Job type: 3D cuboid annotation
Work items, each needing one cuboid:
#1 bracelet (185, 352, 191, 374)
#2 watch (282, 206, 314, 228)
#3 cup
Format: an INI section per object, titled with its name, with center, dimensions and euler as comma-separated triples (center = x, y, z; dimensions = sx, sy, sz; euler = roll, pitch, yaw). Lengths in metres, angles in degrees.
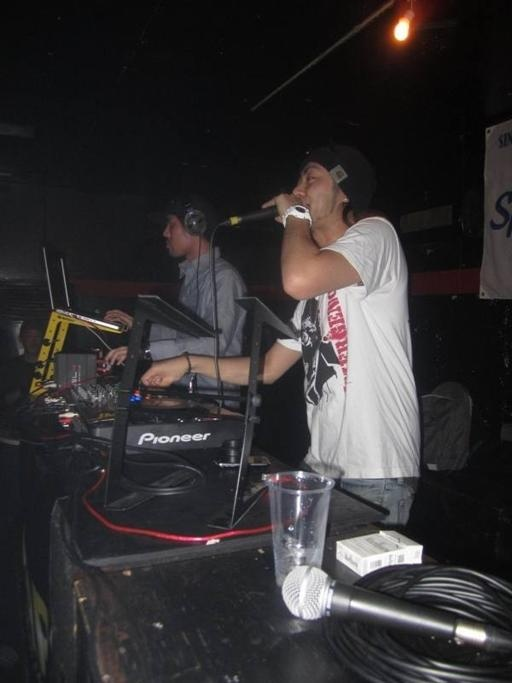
[bracelet]
center = -0.179, 0.062, 1.479
dimensions = 0.015, 0.040, 0.036
euler = -7, 23, -8
[watch]
center = 0.104, -0.323, 1.387
dimensions = 0.069, 0.062, 0.044
euler = 12, 46, 4
[cup]
center = 0.041, 0.272, 0.799
dimensions = 0.139, 0.165, 0.121
euler = 3, -14, -6
